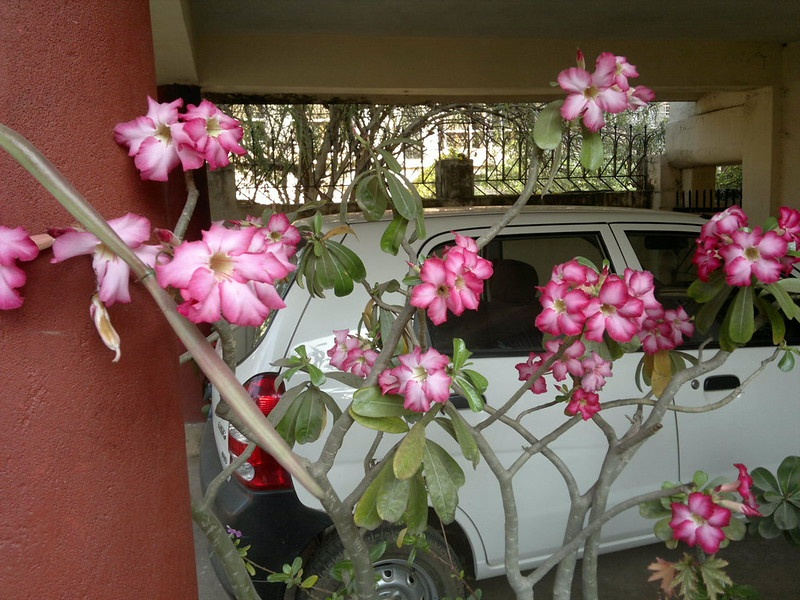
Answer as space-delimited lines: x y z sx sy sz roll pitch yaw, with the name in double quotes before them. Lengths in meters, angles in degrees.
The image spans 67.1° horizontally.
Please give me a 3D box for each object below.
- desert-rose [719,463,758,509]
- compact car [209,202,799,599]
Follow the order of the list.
"desert-rose" 0.838 0.467 1.525 0.091 0.102 0.075 6 4 37
"compact car" 0.497 0.297 3.323 2.698 1.451 1.622 -9 4 -16
